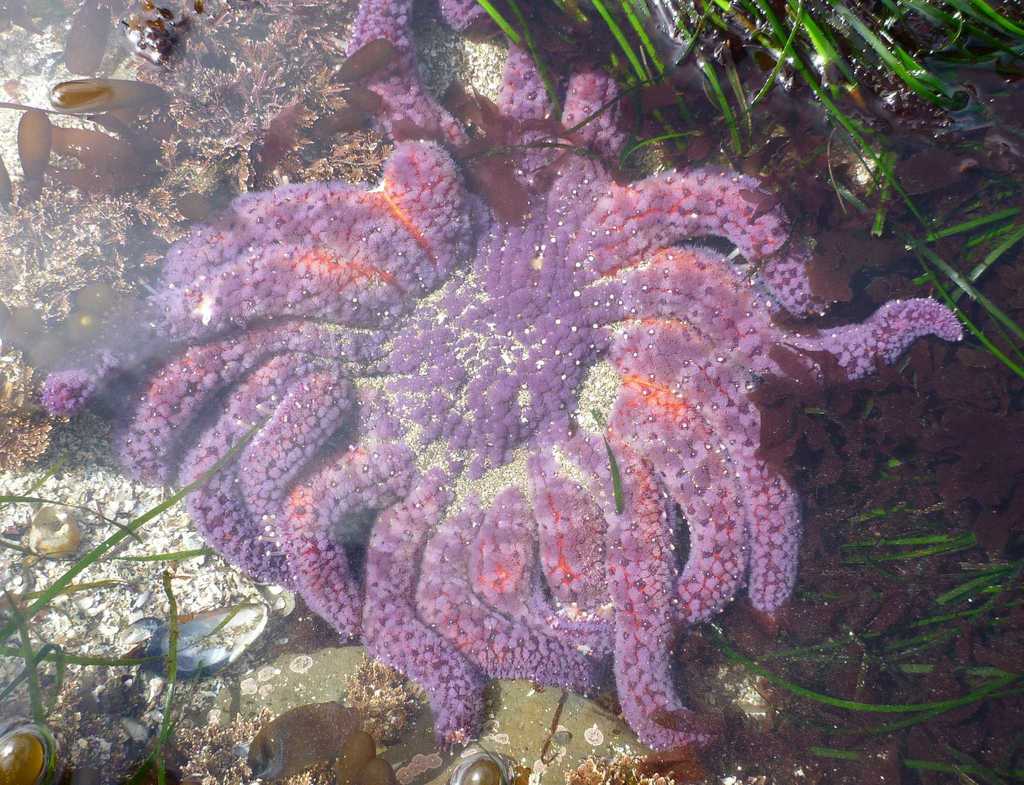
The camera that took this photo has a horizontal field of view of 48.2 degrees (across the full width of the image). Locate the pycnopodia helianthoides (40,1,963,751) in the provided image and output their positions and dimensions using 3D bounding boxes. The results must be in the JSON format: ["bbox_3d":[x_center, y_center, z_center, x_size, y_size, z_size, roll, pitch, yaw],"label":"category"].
[{"bbox_3d":[-0.162,-0.040,6.618,3.884,0.873,3.558,12,82,4],"label":"pycnopodia helianthoides"}]
